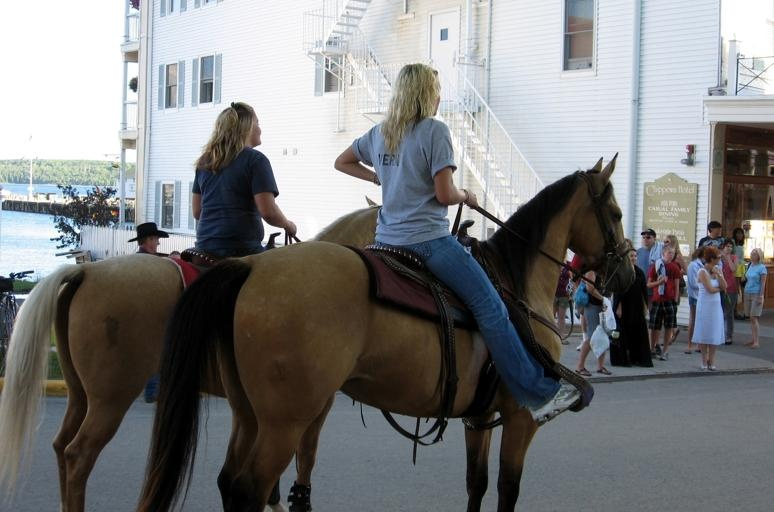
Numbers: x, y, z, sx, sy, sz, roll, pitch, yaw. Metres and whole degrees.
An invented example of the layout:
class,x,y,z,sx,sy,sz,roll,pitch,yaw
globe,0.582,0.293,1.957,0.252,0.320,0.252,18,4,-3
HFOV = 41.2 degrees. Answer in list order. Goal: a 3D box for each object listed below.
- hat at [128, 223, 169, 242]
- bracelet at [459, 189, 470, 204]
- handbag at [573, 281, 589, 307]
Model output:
class,x,y,z,sx,sy,sz,roll,pitch,yaw
hat,-4.356,-0.447,19.202,0.554,0.291,0.706,-9,-1,11
bracelet,1.108,-0.845,14.732,0.044,0.181,0.177,-8,-16,-4
handbag,4.114,0.803,22.074,0.171,0.516,0.346,6,-28,-9
